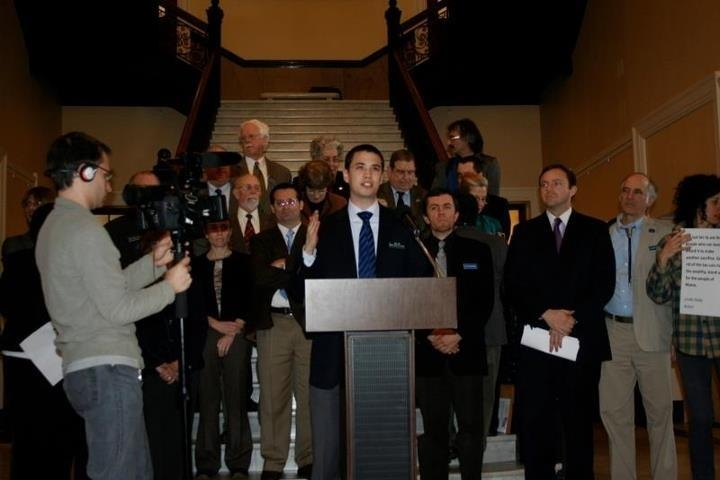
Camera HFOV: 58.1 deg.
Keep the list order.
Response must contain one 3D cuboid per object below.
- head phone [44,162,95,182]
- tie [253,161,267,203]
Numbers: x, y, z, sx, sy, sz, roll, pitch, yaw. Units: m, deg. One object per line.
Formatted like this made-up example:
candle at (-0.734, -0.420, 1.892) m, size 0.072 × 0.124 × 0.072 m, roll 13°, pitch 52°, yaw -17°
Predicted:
head phone at (-1.937, -0.475, 4.388) m, size 0.203 × 0.096 × 0.163 m, roll -6°, pitch 5°, yaw -17°
tie at (-1.149, -0.686, 7.418) m, size 0.238 × 0.367 × 0.131 m, roll -4°, pitch 2°, yaw -13°
